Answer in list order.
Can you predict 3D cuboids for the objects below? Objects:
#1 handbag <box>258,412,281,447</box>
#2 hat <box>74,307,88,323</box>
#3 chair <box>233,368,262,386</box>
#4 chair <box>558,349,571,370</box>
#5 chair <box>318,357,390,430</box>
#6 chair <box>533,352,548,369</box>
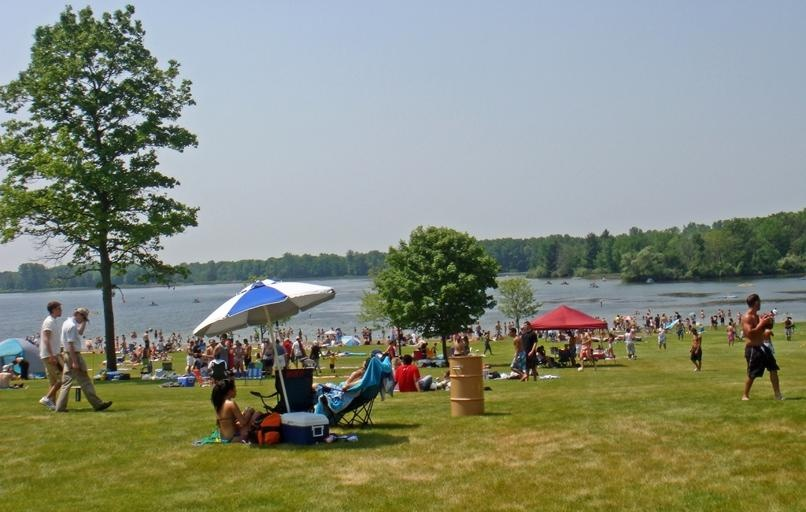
[{"bbox_3d":[-4.263,5.575,31.363,0.772,0.834,0.624,-2,14,-7],"label":"handbag"},{"bbox_3d":[-10.925,2.039,33.482,0.609,0.570,0.500,1,5,-14],"label":"hat"},{"bbox_3d":[-6.985,5.600,45.214,0.905,0.755,1.207,-1,-10,2],"label":"chair"},{"bbox_3d":[7.965,5.114,48.622,0.791,0.762,0.782,-2,1,16],"label":"chair"},{"bbox_3d":[-1.694,4.703,33.023,2.470,1.974,2.004,-3,-11,0],"label":"chair"},{"bbox_3d":[6.771,5.023,47.730,0.504,0.880,1.075,3,14,14],"label":"chair"}]
